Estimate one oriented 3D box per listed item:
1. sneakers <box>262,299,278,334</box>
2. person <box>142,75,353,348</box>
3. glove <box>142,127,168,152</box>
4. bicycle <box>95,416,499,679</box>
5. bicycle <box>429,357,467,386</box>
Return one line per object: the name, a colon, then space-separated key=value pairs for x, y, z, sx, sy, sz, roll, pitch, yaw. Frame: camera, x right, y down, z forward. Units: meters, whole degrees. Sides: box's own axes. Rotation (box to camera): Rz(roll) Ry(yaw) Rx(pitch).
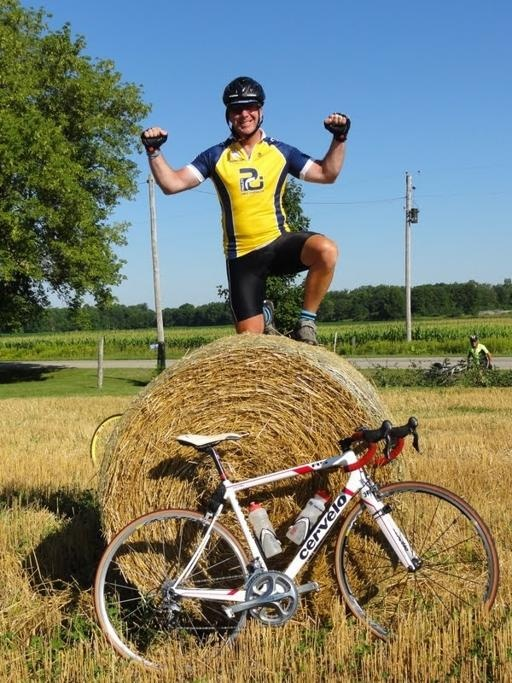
sneakers: x=0.065 y=-0.152 z=4.264 sx=0.083 sy=0.099 sz=0.231 roll=-14 pitch=24 yaw=3
person: x=-0.025 y=-0.754 z=4.049 sx=1.159 sy=1.359 sz=0.527 roll=-2 pitch=1 yaw=5
glove: x=-0.589 y=-1.148 z=3.921 sx=0.139 sy=0.108 sz=0.165 roll=-2 pitch=1 yaw=-8
bicycle: x=0.188 y=1.008 z=3.866 sx=2.603 sy=1.366 sz=0.898 roll=-6 pitch=-2 yaw=3
bicycle: x=4.578 y=0.715 z=16.395 sx=0.994 sy=0.242 sz=1.020 roll=-7 pitch=9 yaw=10
